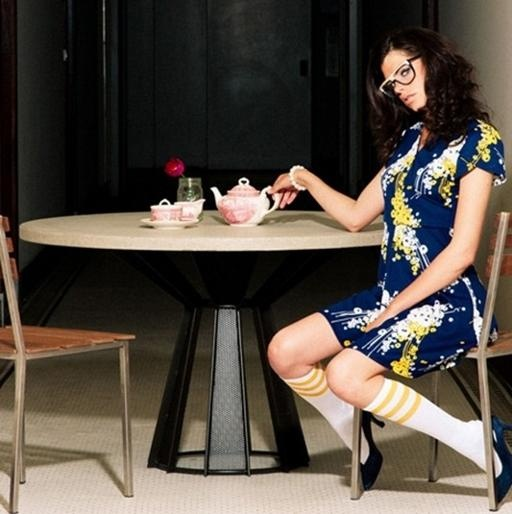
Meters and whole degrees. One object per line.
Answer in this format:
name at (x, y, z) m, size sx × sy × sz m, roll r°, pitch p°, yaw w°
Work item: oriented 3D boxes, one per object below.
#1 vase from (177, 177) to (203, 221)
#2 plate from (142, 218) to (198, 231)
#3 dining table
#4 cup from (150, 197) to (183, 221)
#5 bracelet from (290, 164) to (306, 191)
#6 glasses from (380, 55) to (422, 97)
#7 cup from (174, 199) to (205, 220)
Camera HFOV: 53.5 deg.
vase at (-0.218, -0.191, 1.684) m, size 0.084 × 0.141 × 0.087 m, roll 1°, pitch 3°, yaw 21°
plate at (-0.244, -0.090, 1.437) m, size 0.161 × 0.030 × 0.210 m, roll 0°, pitch 2°, yaw -9°
dining table at (-0.107, 0.232, 1.781) m, size 1.276 × 0.814 × 0.905 m, roll 0°, pitch 4°, yaw 4°
cup at (-0.256, -0.130, 1.414) m, size 0.065 × 0.062 × 0.088 m, roll 0°, pitch -2°, yaw 0°
bracelet at (0.128, -0.248, 1.592) m, size 0.034 × 0.078 × 0.060 m, roll -4°, pitch 1°, yaw -11°
glasses at (0.329, -0.413, 1.151) m, size 0.072 × 0.022 × 0.070 m, roll -40°, pitch -2°, yaw -37°
cup at (-0.202, -0.145, 1.572) m, size 0.091 × 0.076 × 0.069 m, roll 1°, pitch 2°, yaw -5°
